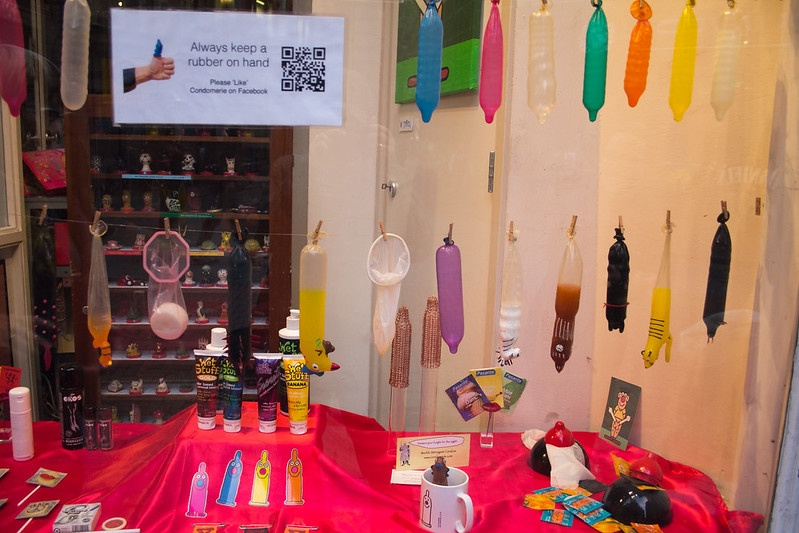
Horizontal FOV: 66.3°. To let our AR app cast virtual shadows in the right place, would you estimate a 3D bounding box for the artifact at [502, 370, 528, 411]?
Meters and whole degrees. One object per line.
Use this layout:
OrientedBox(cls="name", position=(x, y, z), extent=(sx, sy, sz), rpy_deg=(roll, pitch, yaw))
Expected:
OrientedBox(cls="artifact", position=(0.339, 0.377, 1.907), extent=(0.117, 0.110, 0.027), rpy_deg=(4, 13, -35))
